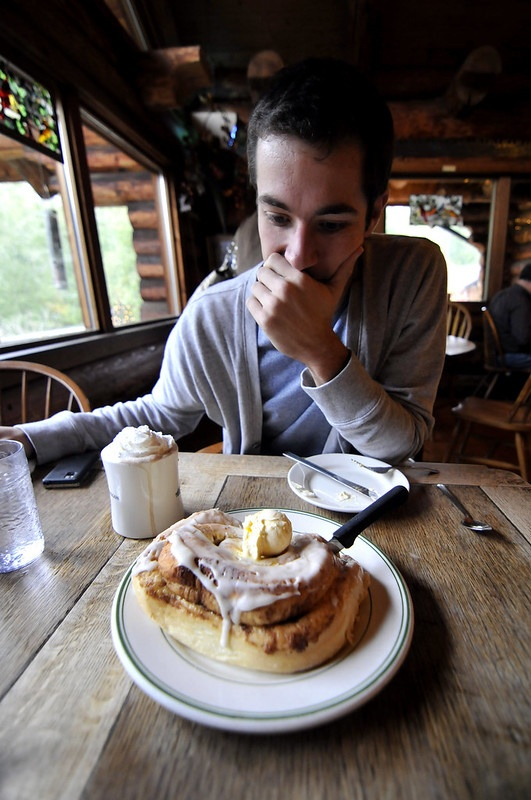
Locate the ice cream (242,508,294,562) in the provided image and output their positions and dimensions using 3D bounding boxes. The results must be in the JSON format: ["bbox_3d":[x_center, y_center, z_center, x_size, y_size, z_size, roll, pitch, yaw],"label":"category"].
[{"bbox_3d":[0.001,0.148,0.611,0.064,0.045,0.065,-1,8,-25],"label":"ice cream"}]
